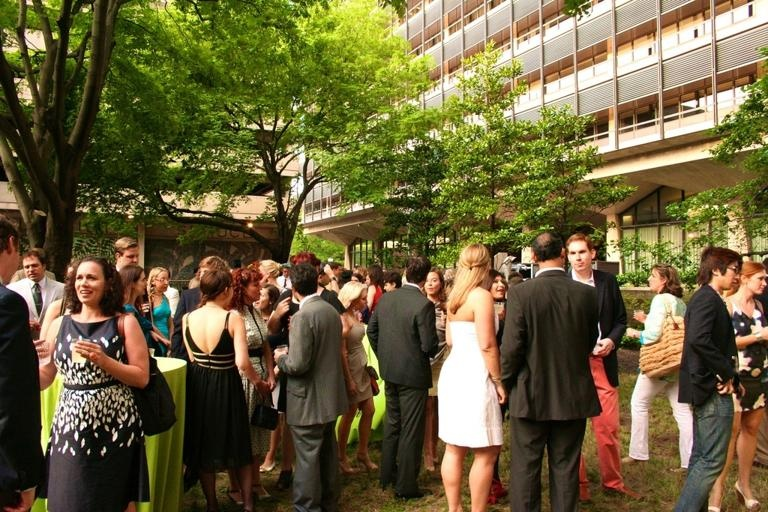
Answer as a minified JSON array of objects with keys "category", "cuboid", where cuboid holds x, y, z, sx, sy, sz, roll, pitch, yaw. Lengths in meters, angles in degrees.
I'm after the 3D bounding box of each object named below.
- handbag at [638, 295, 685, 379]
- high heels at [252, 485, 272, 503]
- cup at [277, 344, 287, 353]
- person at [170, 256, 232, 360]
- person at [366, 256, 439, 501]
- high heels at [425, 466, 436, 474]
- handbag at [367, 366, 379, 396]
[{"category":"handbag","cuboid":[3.782,1.115,8.798,0.642,1.267,1.097,8,-9,21]},{"category":"high heels","cuboid":[-1.531,3.043,8.329,0.317,0.144,0.100,6,-7,-35]},{"category":"cup","cuboid":[-1.245,1.117,7.824,0.079,0.076,0.095,4,-6,-35]},{"category":"person","cuboid":[-2.596,0.788,8.920,0.568,1.365,0.331,7,-32,-16]},{"category":"person","cuboid":[0.283,1.558,8.511,0.869,3.105,0.360,0,-3,16]},{"category":"high heels","cuboid":[0.651,2.999,9.137,0.079,0.078,0.081,-1,-6,34]},{"category":"handbag","cuboid":[-0.149,1.763,9.187,0.135,0.385,0.266,-1,9,-22]}]
